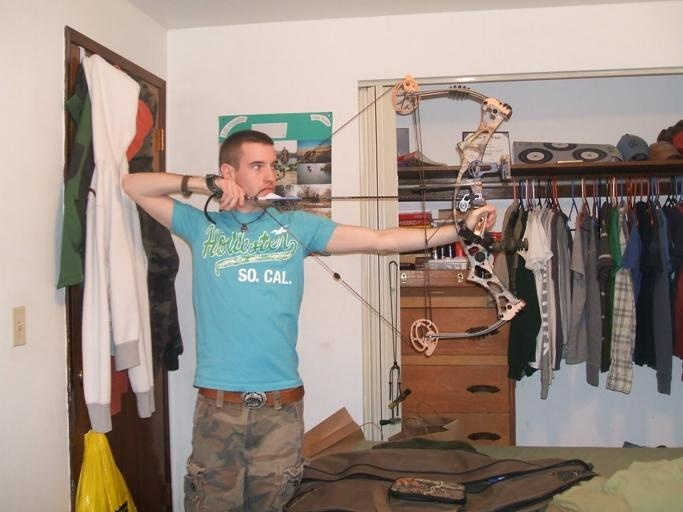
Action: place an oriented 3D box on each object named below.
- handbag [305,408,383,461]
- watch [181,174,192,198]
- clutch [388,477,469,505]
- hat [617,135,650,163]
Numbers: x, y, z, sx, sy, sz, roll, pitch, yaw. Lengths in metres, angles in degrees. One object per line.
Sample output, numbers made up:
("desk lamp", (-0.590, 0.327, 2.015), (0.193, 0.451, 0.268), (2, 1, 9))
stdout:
("handbag", (-0.047, 1.031, 4.022), (0.280, 0.079, 0.214), (-26, 46, -8))
("watch", (-0.736, -0.329, 3.339), (0.030, 0.089, 0.064), (5, 11, 6))
("clutch", (0.395, 1.075, 3.211), (0.223, 0.050, 0.135), (2, 4, 7))
("hat", (1.824, -0.678, 4.377), (0.185, 0.189, 0.208), (0, 0, 24))
